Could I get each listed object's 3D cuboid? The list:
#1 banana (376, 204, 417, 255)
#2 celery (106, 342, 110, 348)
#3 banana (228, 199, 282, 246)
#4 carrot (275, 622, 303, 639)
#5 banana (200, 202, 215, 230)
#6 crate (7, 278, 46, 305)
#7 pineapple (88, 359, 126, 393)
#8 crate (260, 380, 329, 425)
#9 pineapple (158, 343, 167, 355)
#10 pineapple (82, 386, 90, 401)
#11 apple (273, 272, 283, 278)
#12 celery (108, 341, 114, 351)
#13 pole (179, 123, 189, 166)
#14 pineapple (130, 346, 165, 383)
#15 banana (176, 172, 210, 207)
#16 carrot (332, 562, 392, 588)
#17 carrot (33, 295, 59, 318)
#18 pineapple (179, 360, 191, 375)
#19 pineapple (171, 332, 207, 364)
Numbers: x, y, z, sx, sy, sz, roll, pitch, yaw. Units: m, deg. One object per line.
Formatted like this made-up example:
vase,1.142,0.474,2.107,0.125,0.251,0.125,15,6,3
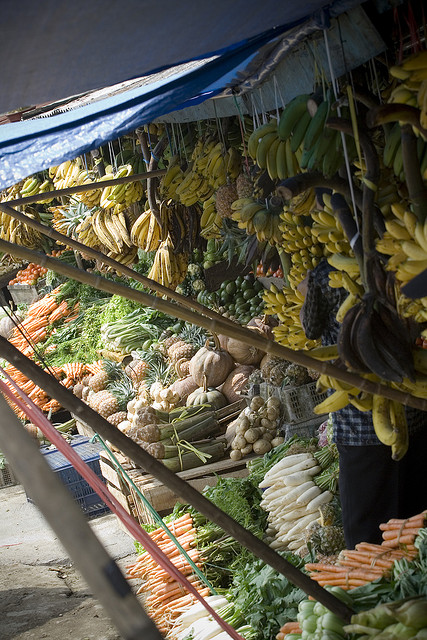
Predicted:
banana,0.483,-0.236,1.332,0.077,0.059,0.161,-11,31,24
celery,-1.295,0.309,6.190,0.016,0.067,0.020,23,15,0
banana,0.214,-0.505,2.554,0.106,0.200,0.272,-8,41,-36
carrot,0.255,1.052,1.705,0.084,0.038,0.070,-16,9,12
banana,-0.084,-0.778,3.760,0.053,0.227,0.084,43,29,27
crate,-3.296,-0.476,8.941,0.572,0.325,0.558,1,13,13
pineapple,-1.225,0.662,5.852,0.387,0.236,0.226,-45,51,1
crate,0.561,0.542,3.382,0.396,0.191,0.396,-15,-1,-36
pineapple,-0.544,0.313,5.415,0.033,0.115,0.071,-20,-28,-6
pineapple,-1.530,0.901,6.150,0.137,0.151,0.132,3,7,6
apple,0.469,-0.327,3.691,0.037,0.035,0.019,-2,-6,42
celery,-1.266,0.318,6.159,0.031,0.104,0.108,5,2,-12
pole,-0.229,-1.316,3.792,0.011,0.387,0.020,-14,-2,-4
pineapple,-0.692,0.483,5.360,0.252,0.239,0.336,0,48,30
banana,-0.140,-0.927,3.603,0.088,0.154,0.239,-51,10,-33
carrot,0.510,0.869,1.713,0.221,0.058,0.049,-29,6,28
carrot,-2.602,-0.198,7.881,0.553,0.163,0.153,-43,18,-24
pineapple,-0.271,0.459,4.777,0.104,0.109,0.062,10,-8,-27
pineapple,-0.231,0.275,4.866,0.283,0.125,0.145,-30,43,-15
